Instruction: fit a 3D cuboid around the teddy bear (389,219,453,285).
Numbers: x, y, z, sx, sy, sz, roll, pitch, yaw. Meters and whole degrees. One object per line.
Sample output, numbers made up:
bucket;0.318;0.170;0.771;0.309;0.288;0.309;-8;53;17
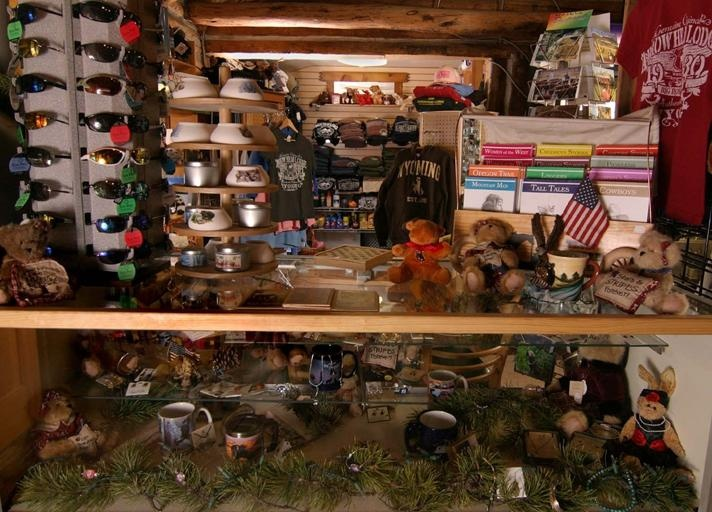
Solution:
teddy bear;0.239;-0.019;2.071;0.359;0.265;0.256;2;14;6

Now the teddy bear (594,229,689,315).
teddy bear;0.953;0.046;1.810;0.281;0.250;0.259;-1;14;-6

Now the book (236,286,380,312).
book;-0.151;0.144;1.789;0.453;0.032;0.197;0;13;-2

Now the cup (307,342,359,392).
cup;-0.107;0.435;2.105;0.255;0.144;0.158;-1;4;-41

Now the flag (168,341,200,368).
flag;-0.670;0.379;2.052;0.191;0.054;0.055;12;8;15

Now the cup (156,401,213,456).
cup;-0.661;0.657;2.036;0.158;0.133;0.231;-4;-4;33

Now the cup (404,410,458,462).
cup;0.283;0.677;2.024;0.183;0.099;0.171;0;9;0

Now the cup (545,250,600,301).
cup;0.735;0.069;1.839;0.251;0.166;0.139;-1;3;0

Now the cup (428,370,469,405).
cup;0.365;0.540;2.194;0.191;0.135;0.102;2;2;14

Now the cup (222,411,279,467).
cup;-0.416;0.694;2.052;0.197;0.134;0.165;-2;9;-23
